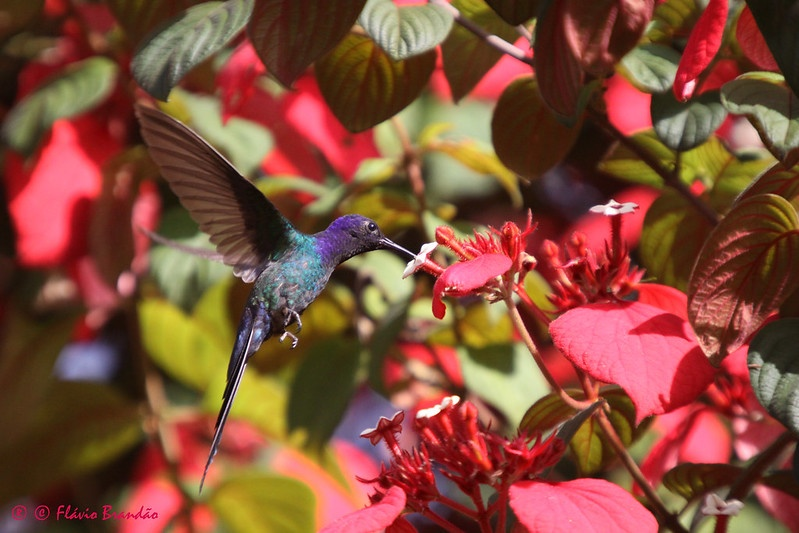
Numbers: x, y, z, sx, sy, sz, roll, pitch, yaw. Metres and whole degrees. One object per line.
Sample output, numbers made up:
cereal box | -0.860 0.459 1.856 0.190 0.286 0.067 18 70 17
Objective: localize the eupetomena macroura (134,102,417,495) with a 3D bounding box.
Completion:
eupetomena macroura | -0.209 0.034 1.692 0.393 0.496 0.457 -6 77 -23

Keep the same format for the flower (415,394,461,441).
flower | 0.041 0.208 1.356 0.023 0.055 0.058 62 28 5
